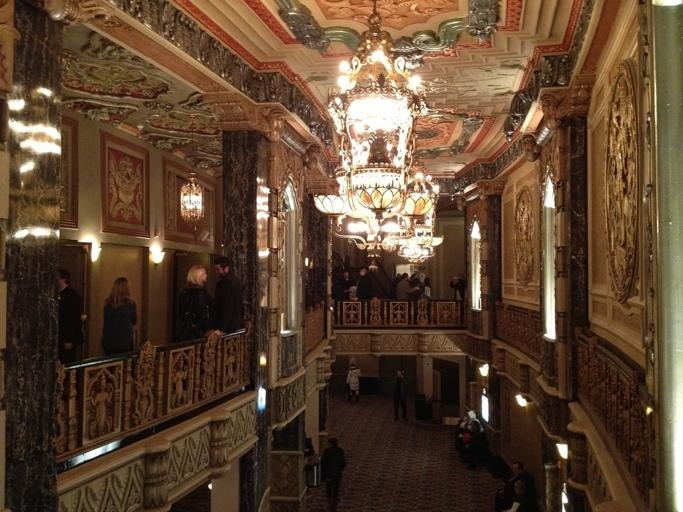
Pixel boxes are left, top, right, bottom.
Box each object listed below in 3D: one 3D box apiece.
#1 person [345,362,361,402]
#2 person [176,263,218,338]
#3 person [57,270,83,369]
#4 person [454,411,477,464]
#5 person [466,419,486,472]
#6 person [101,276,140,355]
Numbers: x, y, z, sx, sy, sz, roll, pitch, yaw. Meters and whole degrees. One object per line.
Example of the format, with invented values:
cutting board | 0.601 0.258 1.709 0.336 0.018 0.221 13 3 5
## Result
person | 0.521 5.335 23.442 0.665 1.652 1.719 1 -3 1
person | -1.810 0.582 6.703 0.435 0.956 0.519 2 -3 -15
person | -3.229 0.716 6.374 0.255 1.101 0.942 3 -3 -28
person | 3.709 5.119 15.236 0.583 1.096 1.882 -18 -11 21
person | 3.657 5.060 14.437 0.570 1.232 0.535 0 -3 30
person | -2.820 0.751 6.799 0.391 0.974 0.411 2 -3 -21
